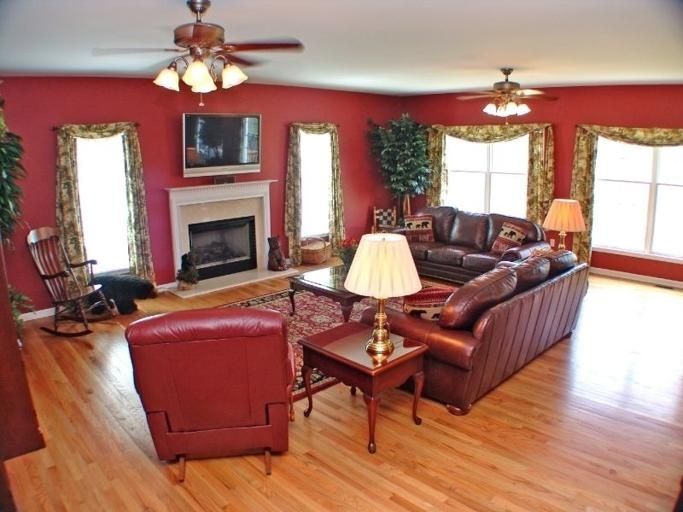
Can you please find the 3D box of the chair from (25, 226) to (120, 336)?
[{"bbox_3d":[-3.348,0.271,6.516,0.797,1.284,0.948,-7,11,-17],"label":"chair"}]

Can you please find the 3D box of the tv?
[{"bbox_3d":[-1.851,-1.649,7.865,1.311,0.785,0.133,-11,20,-39],"label":"tv"}]

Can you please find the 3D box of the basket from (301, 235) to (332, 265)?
[{"bbox_3d":[-0.456,-0.102,9.264,0.414,0.384,0.584,6,15,31],"label":"basket"}]

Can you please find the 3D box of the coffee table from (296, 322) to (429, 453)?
[{"bbox_3d":[0.176,0.928,4.646,0.968,0.885,1.211,-10,16,-42],"label":"coffee table"}]

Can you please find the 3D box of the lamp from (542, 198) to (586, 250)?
[{"bbox_3d":[2.914,-0.436,6.948,0.449,0.641,1.395,1,9,21],"label":"lamp"}]

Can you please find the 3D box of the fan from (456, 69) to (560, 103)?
[{"bbox_3d":[1.966,-1.960,6.275,0.982,0.327,0.955,3,10,6],"label":"fan"}]

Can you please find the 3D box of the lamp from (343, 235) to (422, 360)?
[{"bbox_3d":[0.329,0.329,4.127,0.565,0.996,0.383,-1,12,13],"label":"lamp"}]

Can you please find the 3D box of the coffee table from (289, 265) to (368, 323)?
[{"bbox_3d":[-0.161,0.357,6.426,0.808,0.368,0.780,13,21,37],"label":"coffee table"}]
